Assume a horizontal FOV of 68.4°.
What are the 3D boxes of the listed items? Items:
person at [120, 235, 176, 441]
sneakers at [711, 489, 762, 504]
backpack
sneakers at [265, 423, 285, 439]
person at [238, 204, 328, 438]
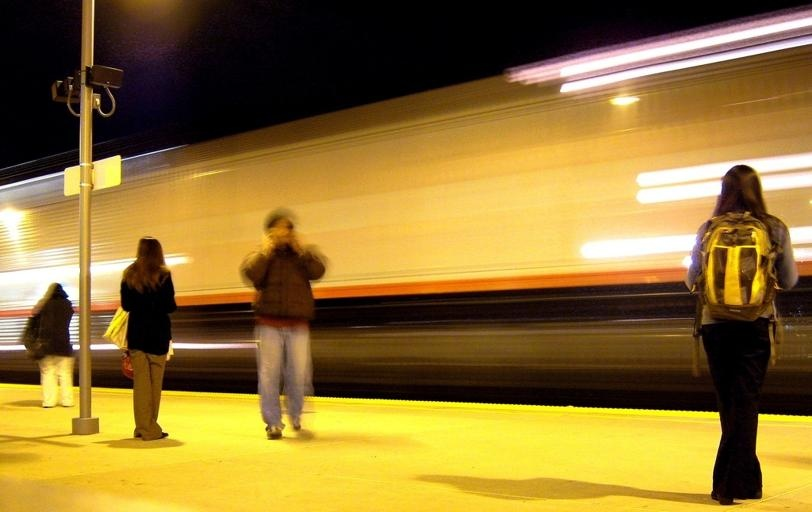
[{"bbox_3d":[-2.653,0.830,6.195,0.496,2.078,0.246,-1,-5,-24],"label":"person"},{"bbox_3d":[2.087,1.526,3.806,0.289,0.081,0.155,-3,-4,20],"label":"sneakers"},{"bbox_3d":[2.117,0.069,3.866,0.498,0.704,0.263,-4,-5,21],"label":"backpack"},{"bbox_3d":[-1.294,1.734,5.911,0.153,0.149,0.148,-1,-4,-15],"label":"sneakers"},{"bbox_3d":[-1.234,0.669,6.034,0.761,2.284,0.347,-1,-5,-14],"label":"person"}]
